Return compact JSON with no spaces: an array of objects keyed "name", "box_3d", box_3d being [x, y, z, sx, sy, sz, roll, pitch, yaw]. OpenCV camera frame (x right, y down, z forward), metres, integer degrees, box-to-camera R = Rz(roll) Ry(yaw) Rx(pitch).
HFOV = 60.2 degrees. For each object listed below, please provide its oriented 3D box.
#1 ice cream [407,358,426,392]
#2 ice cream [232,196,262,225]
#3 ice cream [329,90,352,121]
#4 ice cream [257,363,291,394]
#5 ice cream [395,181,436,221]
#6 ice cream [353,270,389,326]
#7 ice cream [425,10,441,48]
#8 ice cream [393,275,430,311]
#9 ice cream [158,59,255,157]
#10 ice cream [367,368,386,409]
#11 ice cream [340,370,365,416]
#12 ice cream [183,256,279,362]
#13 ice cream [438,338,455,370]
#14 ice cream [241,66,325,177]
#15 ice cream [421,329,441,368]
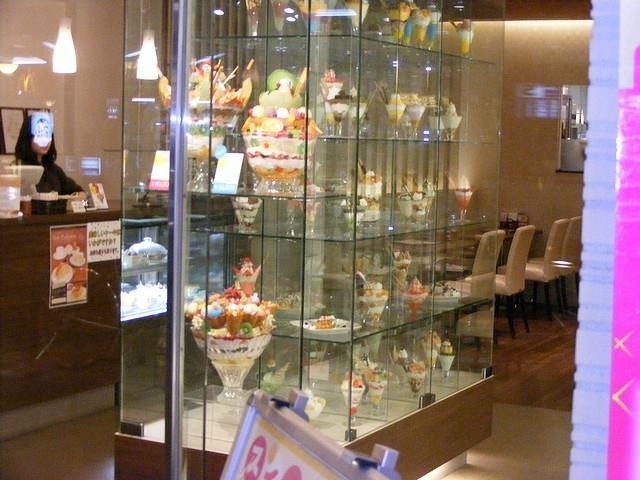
[{"name":"ice cream","box_3d":[0.471,0.646,2.703,0.106,0.051,0.145,-27,15,11]},{"name":"ice cream","box_3d":[-0.265,-0.100,1.942,0.093,0.087,0.090,0,2,-4]},{"name":"ice cream","box_3d":[0.073,-0.501,2.082,0.087,0.101,0.090,0,6,11]},{"name":"ice cream","box_3d":[-0.155,0.502,2.038,0.054,0.099,0.037,23,-35,-7]},{"name":"ice cream","box_3d":[0.455,-0.180,2.637,0.157,0.149,0.203,0,-2,18]},{"name":"ice cream","box_3d":[0.230,0.272,2.336,0.134,0.162,0.141,-3,4,15]},{"name":"ice cream","box_3d":[0.538,-1.021,2.668,0.062,0.152,0.063,-3,22,-11]},{"name":"ice cream","box_3d":[0.447,0.239,2.649,0.155,0.167,0.156,-3,4,-40]},{"name":"ice cream","box_3d":[-0.314,-0.393,1.755,0.312,0.380,0.364,1,2,-2]},{"name":"ice cream","box_3d":[0.242,0.670,2.408,0.073,0.138,0.076,5,-17,-5]},{"name":"ice cream","box_3d":[0.131,0.622,2.212,0.087,0.188,0.090,8,14,38]},{"name":"ice cream","box_3d":[-0.320,0.258,2.064,0.324,0.377,0.345,9,-1,11]},{"name":"ice cream","box_3d":[0.672,0.640,2.955,0.089,0.200,0.092,0,12,12]},{"name":"ice cream","box_3d":[-0.135,-0.409,1.995,0.323,0.451,0.327,0,5,-3]},{"name":"ice cream","box_3d":[0.569,0.569,2.841,0.090,0.158,0.097,4,-13,-17]}]
